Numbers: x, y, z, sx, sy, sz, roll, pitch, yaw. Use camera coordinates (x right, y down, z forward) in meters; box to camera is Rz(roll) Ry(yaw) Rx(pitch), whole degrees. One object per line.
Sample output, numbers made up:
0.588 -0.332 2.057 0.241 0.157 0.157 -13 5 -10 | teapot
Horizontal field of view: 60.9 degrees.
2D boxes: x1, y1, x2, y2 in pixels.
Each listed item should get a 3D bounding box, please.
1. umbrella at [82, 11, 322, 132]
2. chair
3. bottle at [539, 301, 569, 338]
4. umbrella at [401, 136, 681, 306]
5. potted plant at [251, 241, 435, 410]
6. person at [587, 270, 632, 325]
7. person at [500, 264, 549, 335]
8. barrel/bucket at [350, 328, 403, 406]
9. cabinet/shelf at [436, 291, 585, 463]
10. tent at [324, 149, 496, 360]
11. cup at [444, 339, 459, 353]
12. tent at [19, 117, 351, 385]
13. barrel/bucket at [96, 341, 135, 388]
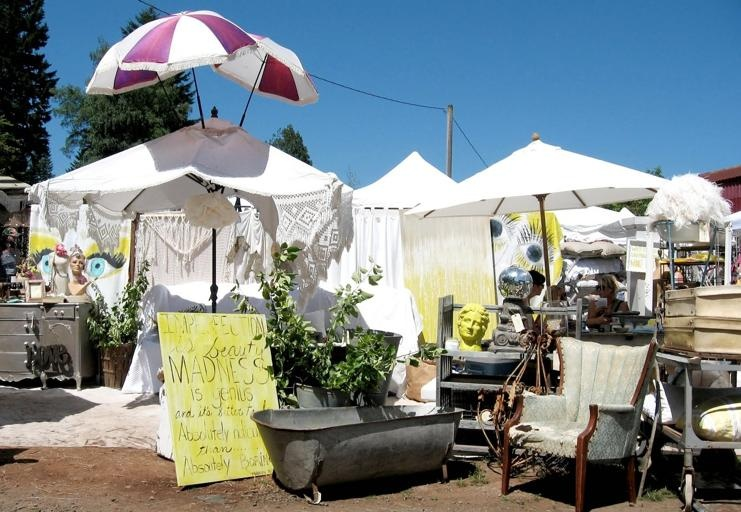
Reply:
-1.906 -2.236 7.495 2.608 1.269 1.786 -2 13 -17 | umbrella
1.880 1.715 6.490 1.437 1.941 1.559 4 -5 -37 | chair
2.090 0.640 7.176 0.286 0.412 1.042 4 13 15 | bottle
2.106 -0.816 7.809 2.326 1.933 2.376 -5 -5 -4 | umbrella
-0.507 0.819 7.178 1.506 2.004 1.642 2 -6 -9 | potted plant
3.052 0.665 8.136 0.544 0.849 0.473 -4 -9 39 | person
2.180 0.539 9.017 0.611 1.257 1.109 -4 -3 19 | person
0.213 1.169 6.714 0.712 0.853 0.758 1 -3 0 | barrel/bucket
1.465 1.316 6.639 1.592 2.013 0.636 0 1 12 | cabinet/shelf
0.955 -0.210 11.882 3.010 3.155 3.087 4 5 45 | tent
0.880 0.950 6.836 0.120 0.133 0.129 1 1 0 | cup
-2.122 -0.463 7.473 2.900 2.411 3.144 0 1 44 | tent
-3.687 1.545 9.084 0.556 0.642 0.552 3 -6 0 | barrel/bucket
